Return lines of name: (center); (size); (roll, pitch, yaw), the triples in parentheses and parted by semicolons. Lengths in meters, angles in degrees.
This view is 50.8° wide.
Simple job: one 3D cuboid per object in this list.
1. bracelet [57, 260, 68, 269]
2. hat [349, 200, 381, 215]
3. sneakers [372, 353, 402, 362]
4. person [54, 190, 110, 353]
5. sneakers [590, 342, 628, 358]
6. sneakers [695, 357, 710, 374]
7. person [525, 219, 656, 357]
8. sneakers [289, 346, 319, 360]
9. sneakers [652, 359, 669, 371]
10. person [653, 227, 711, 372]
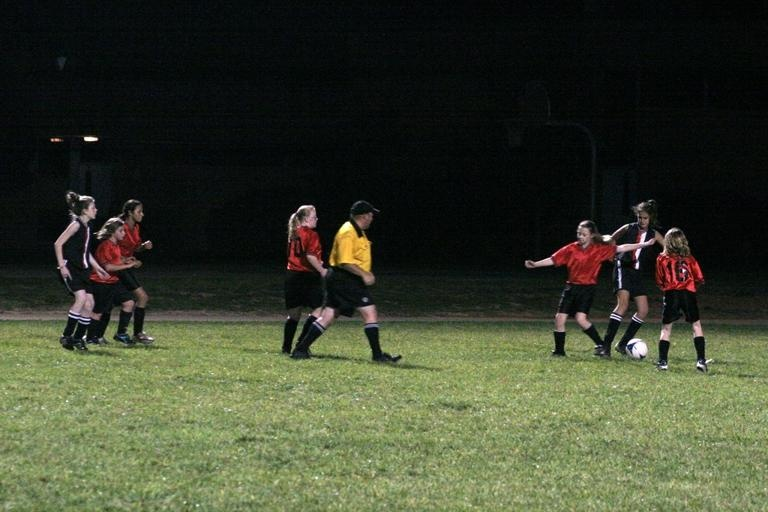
bracelet: (-5.202, 0.130, 13.130); (0.156, 0.038, 0.104); (-15, -18, -26)
hat: (-0.317, -0.764, 12.860); (0.368, 0.215, 0.313); (4, 10, 8)
sneakers: (0.058, 1.642, 13.103); (0.483, 0.186, 0.166); (-3, -1, 1)
person: (-5.005, 0.275, 13.372); (0.714, 2.610, 0.864); (-2, 11, -21)
sneakers: (3.925, 1.646, 14.021); (0.676, 0.258, 0.214); (-8, 12, -12)
sneakers: (5.088, 1.720, 12.821); (0.197, 0.260, 0.275); (3, 0, -4)
person: (3.425, 0.551, 13.866); (1.410, 2.287, 0.499); (-1, 11, -17)
sneakers: (-1.282, 1.577, 13.123); (0.434, 0.167, 0.135); (-2, 4, 1)
sneakers: (4.424, 1.729, 12.901); (0.162, 0.198, 0.215); (1, 10, -1)
person: (4.769, 0.735, 12.921); (0.937, 2.310, 0.943); (8, 12, 29)
